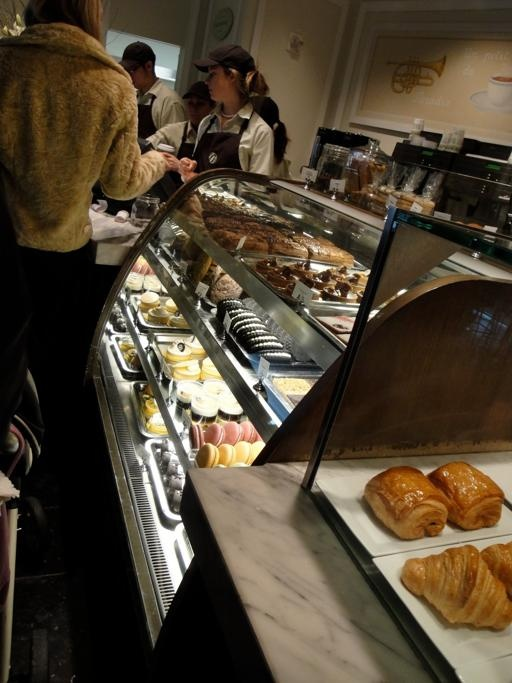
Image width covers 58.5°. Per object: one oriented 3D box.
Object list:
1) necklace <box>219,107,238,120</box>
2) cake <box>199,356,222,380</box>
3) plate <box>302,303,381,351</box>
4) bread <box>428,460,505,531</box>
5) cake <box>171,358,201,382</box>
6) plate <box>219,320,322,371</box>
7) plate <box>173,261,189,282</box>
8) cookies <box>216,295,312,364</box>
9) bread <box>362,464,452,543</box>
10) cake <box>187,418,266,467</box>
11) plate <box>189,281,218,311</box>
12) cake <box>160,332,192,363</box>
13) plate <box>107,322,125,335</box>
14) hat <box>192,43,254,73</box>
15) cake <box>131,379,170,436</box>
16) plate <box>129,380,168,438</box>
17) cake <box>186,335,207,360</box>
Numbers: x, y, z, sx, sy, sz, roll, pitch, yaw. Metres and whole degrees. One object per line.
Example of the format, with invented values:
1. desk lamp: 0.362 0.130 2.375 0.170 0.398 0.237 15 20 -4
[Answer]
1. necklace: -0.208 -1.631 3.282 0.148 0.034 0.137 4 5 6
2. cake: -0.193 0.110 1.867 0.060 0.096 0.099 1 29 -1
3. plate: 0.173 -0.042 1.005 0.108 0.024 0.097 -12 30 -27
4. bread: 0.280 0.203 0.620 0.075 0.054 0.078 -5 20 -16
5. cake: -0.287 0.113 1.876 0.086 0.050 0.085 13 19 17
6. plate: 0.017 0.002 1.315 0.223 0.047 0.134 43 3 43
7. plate: -0.307 -0.284 1.882 0.050 0.027 0.118 -25 49 -4
8. cookies: 0.007 -0.063 1.384 0.261 0.067 0.134 43 -2 35
9. bread: 0.209 0.210 0.612 0.068 0.043 0.090 -8 17 -12
10. cake: -0.096 0.333 1.467 0.221 0.069 0.177 1 21 0
11. plate: -0.187 -0.163 1.669 0.109 0.104 0.026 14 9 44
12. cake: -0.351 0.033 2.042 0.120 0.041 0.120 3 27 -2
13. plate: -0.778 -0.074 2.553 0.082 0.057 0.027 25 11 17
14. hat: -0.225 -1.843 3.056 0.364 0.176 0.241 12 38 -8
15. cake: -0.485 0.311 2.050 0.164 0.033 0.236 2 44 -21
16. plate: -0.483 0.316 2.039 0.162 0.032 0.242 1 44 -21
17. cake: -0.283 0.032 2.060 0.109 0.069 0.099 15 22 20
